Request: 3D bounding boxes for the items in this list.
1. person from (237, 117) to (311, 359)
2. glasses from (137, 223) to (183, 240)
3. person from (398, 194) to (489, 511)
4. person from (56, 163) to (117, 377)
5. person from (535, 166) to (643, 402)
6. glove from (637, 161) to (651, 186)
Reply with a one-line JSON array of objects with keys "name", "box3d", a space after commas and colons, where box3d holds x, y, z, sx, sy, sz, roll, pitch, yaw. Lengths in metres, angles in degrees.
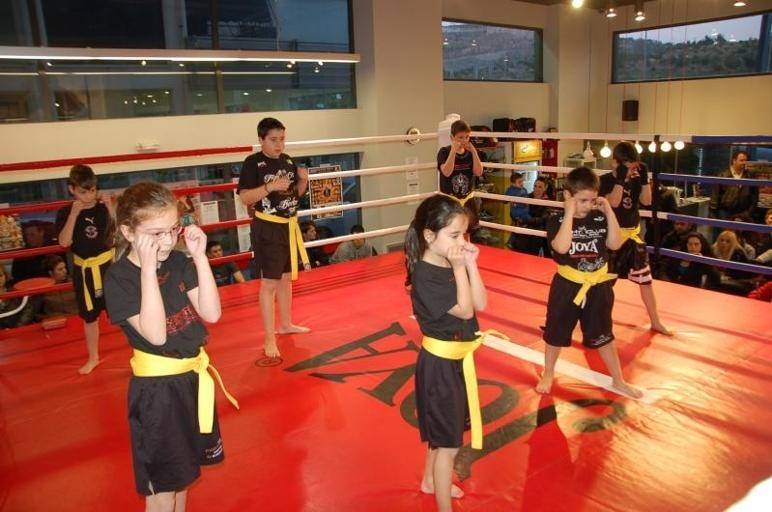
[{"name": "person", "box3d": [-0.960, -0.191, 4.438, 0.542, 1.889, 0.868, 0, 19, 6]}, {"name": "glasses", "box3d": [-1.126, -0.129, 2.651, 0.101, 0.067, 0.247, 11, 22, 33]}, {"name": "person", "box3d": [0.340, 0.528, 2.885, 0.442, 1.634, 0.657, -1, 19, 2]}, {"name": "person", "box3d": [-2.387, 0.168, 4.190, 0.355, 1.605, 0.466, 7, 12, 41]}, {"name": "person", "box3d": [1.475, 0.180, 3.696, 0.687, 1.578, 0.602, 4, 20, 17]}, {"name": "glove", "box3d": [2.168, -0.692, 4.370, 0.084, 0.242, 0.175, -2, -1, 38]}]
